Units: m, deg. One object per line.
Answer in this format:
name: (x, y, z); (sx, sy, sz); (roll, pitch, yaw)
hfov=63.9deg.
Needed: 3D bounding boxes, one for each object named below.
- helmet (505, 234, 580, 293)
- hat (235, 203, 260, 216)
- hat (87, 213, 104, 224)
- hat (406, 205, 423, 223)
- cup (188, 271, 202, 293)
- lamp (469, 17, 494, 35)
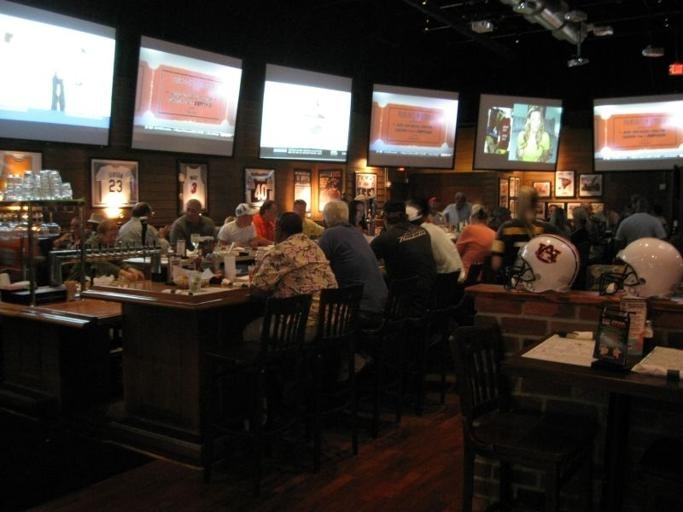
helmet: (1.107, 0.037, 2.970); (0.358, 0.287, 0.269); (3, 4, 32)
hat: (-1.165, -0.563, 6.929); (0.311, 0.128, 0.213); (-8, 17, -12)
hat: (-2.971, -0.457, 6.610); (0.226, 0.113, 0.226); (3, -2, -2)
hat: (0.687, -0.414, 5.301); (0.132, 0.155, 0.134); (27, -4, -38)
cup: (-0.974, 0.161, 3.638); (0.090, 0.134, 0.255); (-2, 9, -15)
lamp: (2.266, -3.713, 8.768); (0.336, 0.253, 0.403); (7, 11, 41)
